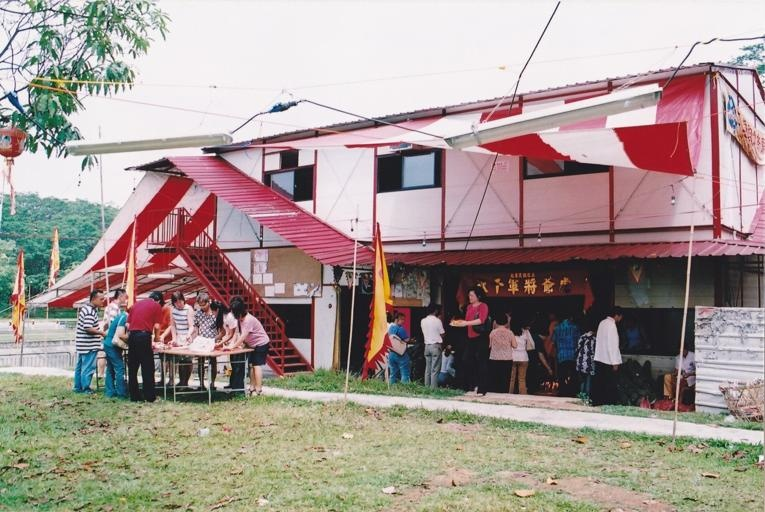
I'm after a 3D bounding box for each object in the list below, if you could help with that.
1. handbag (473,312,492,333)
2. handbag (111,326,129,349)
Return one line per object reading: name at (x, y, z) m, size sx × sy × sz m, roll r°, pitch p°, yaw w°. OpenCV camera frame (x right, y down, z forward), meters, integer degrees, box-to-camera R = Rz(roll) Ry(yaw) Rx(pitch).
handbag at (2.413, 1.634, 20.337) m, size 0.297 × 0.488 × 0.453 m, roll 7°, pitch 12°, yaw 28°
handbag at (-5.995, 1.893, 18.921) m, size 0.468 × 0.548 × 0.245 m, roll 7°, pitch -17°, yaw -19°
